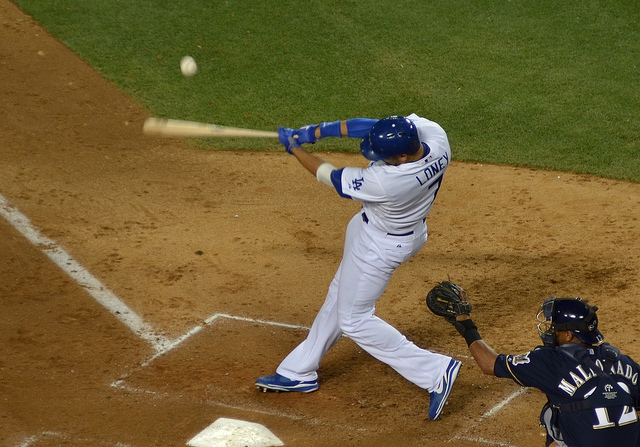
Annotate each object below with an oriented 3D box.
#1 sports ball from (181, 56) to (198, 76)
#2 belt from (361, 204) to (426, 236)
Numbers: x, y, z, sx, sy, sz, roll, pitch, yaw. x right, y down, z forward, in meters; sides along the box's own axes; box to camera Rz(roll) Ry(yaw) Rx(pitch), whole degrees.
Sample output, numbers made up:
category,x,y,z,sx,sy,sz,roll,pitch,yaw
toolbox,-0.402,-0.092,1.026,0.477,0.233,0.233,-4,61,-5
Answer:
category,x,y,z,sx,sy,sz,roll,pitch,yaw
sports ball,-1.743,-2.130,12.616,0.223,0.121,0.223,2,84,-17
belt,0.823,-0.001,10.678,0.702,0.203,0.272,1,47,6
